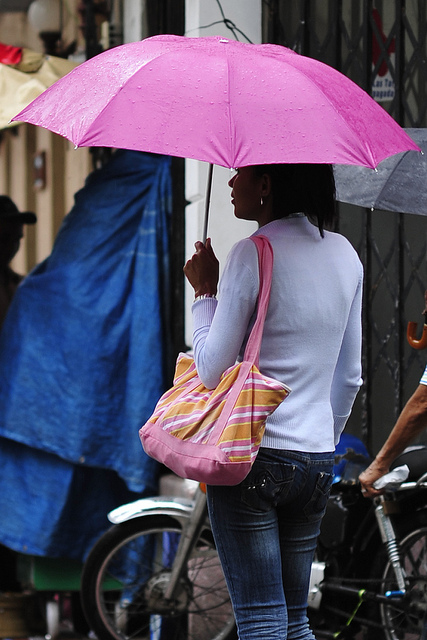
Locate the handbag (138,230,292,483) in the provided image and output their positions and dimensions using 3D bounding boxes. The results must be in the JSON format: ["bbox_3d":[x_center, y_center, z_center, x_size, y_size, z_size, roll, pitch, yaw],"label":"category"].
[{"bbox_3d":[0.004,0.093,3.106,0.265,0.625,0.427,-10,17,-38],"label":"handbag"}]
